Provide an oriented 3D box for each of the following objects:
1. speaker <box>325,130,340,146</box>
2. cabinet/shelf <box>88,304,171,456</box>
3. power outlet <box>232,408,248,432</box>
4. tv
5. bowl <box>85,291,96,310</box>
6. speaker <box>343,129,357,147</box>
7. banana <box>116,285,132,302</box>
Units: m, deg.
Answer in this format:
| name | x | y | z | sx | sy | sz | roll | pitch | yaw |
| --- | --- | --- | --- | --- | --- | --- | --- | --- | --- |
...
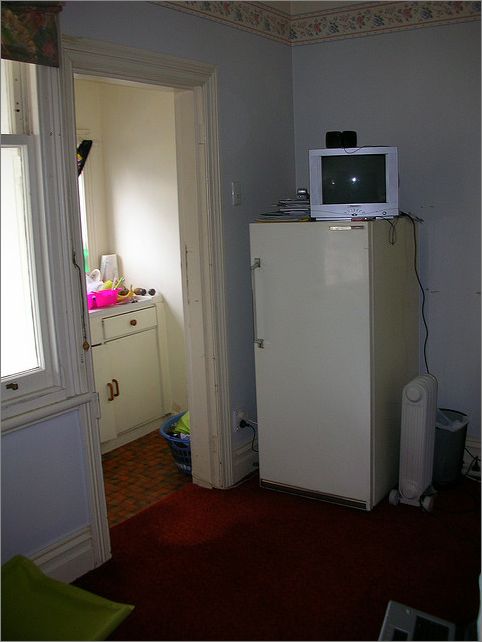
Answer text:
| name | x | y | z | sx | sy | sz | roll | pitch | yaw |
| --- | --- | --- | --- | --- | --- | --- | --- | --- | --- |
| speaker | 0.418 | -0.820 | 2.401 | 0.064 | 0.090 | 0.135 | -1 | 8 | 8 |
| cabinet/shelf | -0.870 | 0.318 | 3.489 | 0.429 | 0.896 | 0.671 | 5 | 12 | 32 |
| power outlet | -0.013 | 0.525 | 2.809 | 0.079 | 0.110 | 0.032 | -3 | 6 | -41 |
| tv | 0.506 | -0.596 | 2.440 | 0.398 | 0.331 | 0.235 | -1 | -4 | 8 |
| bowl | -0.921 | -0.120 | 3.238 | 0.044 | 0.093 | 0.101 | -4 | 7 | -10 |
| speaker | 0.484 | -0.817 | 2.378 | 0.061 | 0.065 | 0.034 | -3 | 7 | -8 |
| banana | -0.786 | -0.170 | 3.539 | 0.103 | 0.063 | 0.113 | 5 | 29 | 5 |
